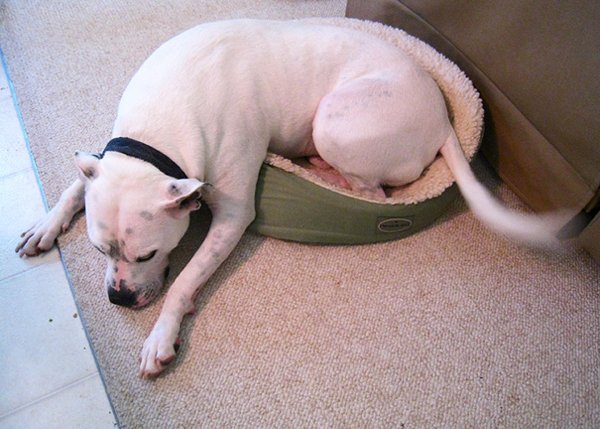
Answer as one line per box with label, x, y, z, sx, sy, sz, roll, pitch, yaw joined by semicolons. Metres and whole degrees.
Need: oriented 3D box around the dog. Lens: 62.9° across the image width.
dog;-0.069;-0.104;2.206;1.699;0.536;1.237;-27;66;-15
